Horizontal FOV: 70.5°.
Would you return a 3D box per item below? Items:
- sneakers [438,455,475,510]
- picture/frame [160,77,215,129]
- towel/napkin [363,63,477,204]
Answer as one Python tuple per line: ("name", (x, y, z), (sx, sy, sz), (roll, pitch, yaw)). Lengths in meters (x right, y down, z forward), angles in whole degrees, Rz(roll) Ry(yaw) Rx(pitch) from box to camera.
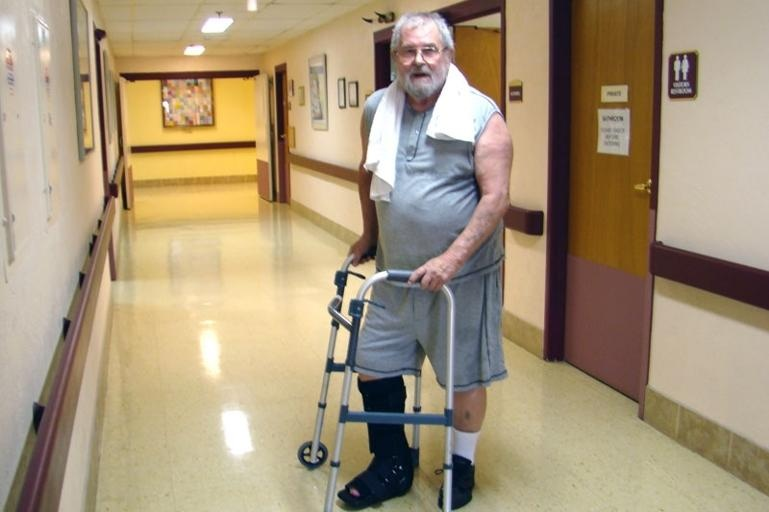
("sneakers", (0.407, 1.144, 2.824), (0.150, 0.183, 0.282), (-1, 9, 21))
("picture/frame", (-5.336, -4.146, 14.631), (1.254, 1.205, 0.090), (-4, 14, -15))
("towel/napkin", (0.135, -0.592, 2.547), (0.485, 0.675, 0.170), (2, -9, 13))
